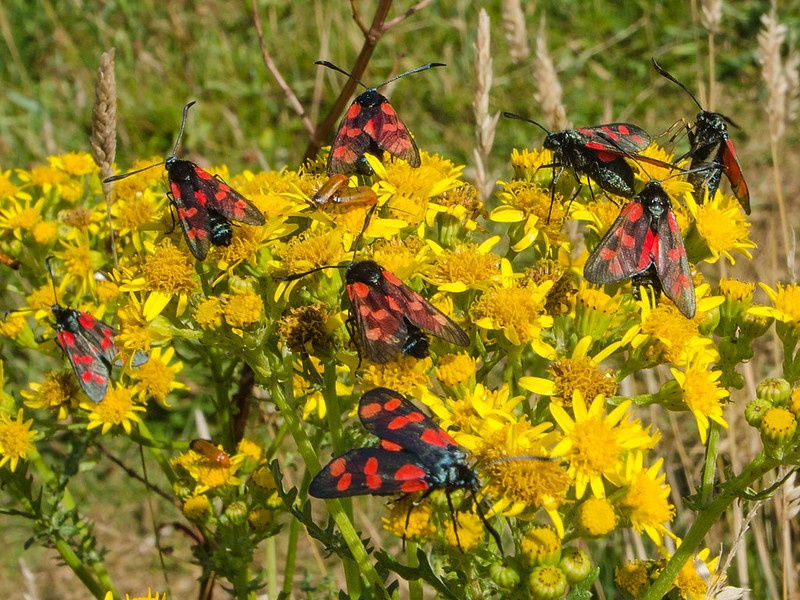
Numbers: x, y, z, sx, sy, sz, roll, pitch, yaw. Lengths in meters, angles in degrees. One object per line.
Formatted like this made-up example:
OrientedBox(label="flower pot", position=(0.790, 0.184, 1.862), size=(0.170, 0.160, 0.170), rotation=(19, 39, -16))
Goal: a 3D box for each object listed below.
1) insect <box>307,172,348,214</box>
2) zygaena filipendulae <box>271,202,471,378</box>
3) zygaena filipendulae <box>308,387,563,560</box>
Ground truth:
OrientedBox(label="insect", position=(-0.427, -0.659, 5.570), size=(0.196, 0.054, 0.190), rotation=(-41, 46, 5))
OrientedBox(label="zygaena filipendulae", position=(-0.171, 0.025, 5.474), size=(0.875, 0.352, 1.052), rotation=(-22, 50, -38))
OrientedBox(label="zygaena filipendulae", position=(0.133, 1.045, 5.162), size=(1.252, 0.366, 0.868), rotation=(20, 42, 32))
